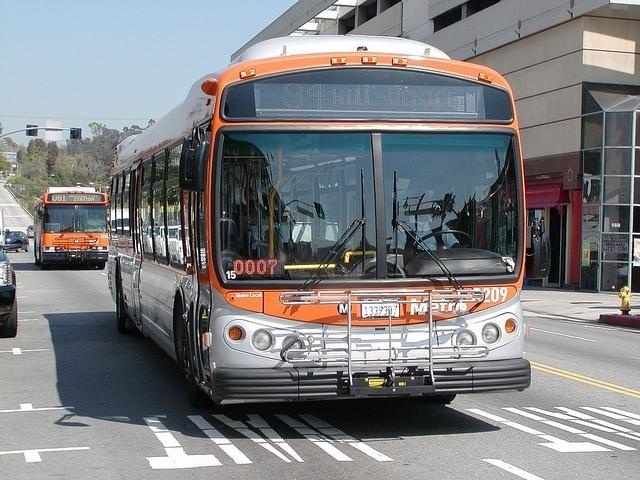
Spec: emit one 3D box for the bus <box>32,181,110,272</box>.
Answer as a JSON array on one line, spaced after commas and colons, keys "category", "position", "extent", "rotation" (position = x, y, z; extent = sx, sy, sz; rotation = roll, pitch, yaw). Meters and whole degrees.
[{"category": "bus", "position": [-15.121, -0.985, 36.085], "extent": [3.308, 4.926, 4.964], "rotation": [1, -2, -39]}]
